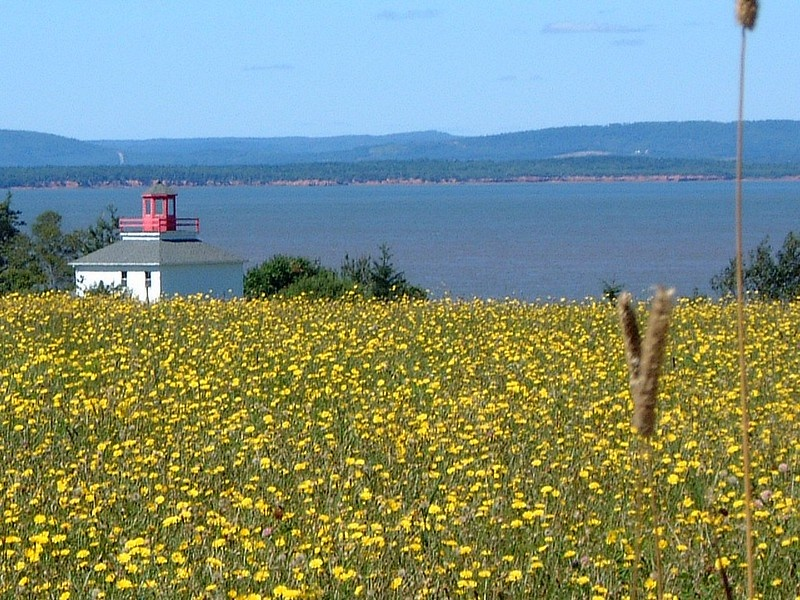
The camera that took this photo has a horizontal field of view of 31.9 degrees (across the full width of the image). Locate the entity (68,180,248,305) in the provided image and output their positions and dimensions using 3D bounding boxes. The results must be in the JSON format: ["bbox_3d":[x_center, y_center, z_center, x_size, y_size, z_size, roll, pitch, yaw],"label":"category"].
[{"bbox_3d":[-10.063,-1.850,59.545,6.233,6.409,6.642,-1,2,-7],"label":"entity"}]
